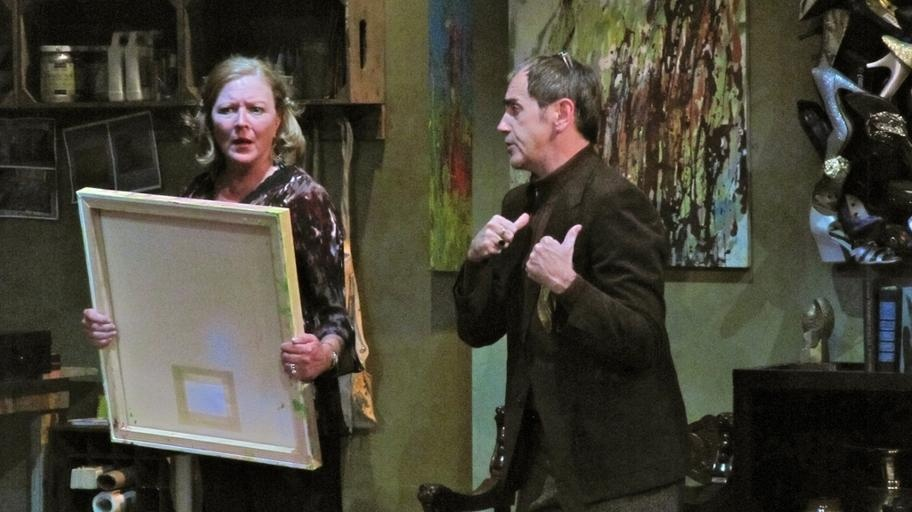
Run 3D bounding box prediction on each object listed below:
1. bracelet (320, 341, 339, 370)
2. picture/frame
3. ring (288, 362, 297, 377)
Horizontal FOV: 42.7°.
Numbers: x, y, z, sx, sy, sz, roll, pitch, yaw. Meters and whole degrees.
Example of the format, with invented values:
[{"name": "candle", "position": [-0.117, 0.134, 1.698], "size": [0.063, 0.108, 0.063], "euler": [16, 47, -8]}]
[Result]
[{"name": "bracelet", "position": [-0.512, 0.425, 4.893], "size": [0.095, 0.099, 0.091], "euler": [-14, -22, 24]}, {"name": "picture/frame", "position": [-1.035, 0.290, 4.905], "size": [1.341, 1.381, 0.176], "euler": [5, 20, 19]}, {"name": "ring", "position": [-0.670, 0.475, 4.822], "size": [0.033, 0.044, 0.038], "euler": [1, 9, 33]}]
